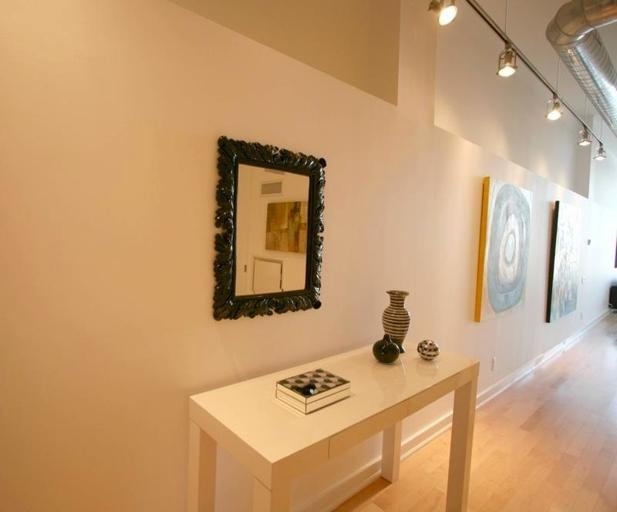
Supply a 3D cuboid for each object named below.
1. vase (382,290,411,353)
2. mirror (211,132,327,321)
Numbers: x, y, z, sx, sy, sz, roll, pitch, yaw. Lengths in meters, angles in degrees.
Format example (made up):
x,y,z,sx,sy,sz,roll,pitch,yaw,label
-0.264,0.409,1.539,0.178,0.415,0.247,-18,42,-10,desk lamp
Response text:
x,y,z,sx,sy,sz,roll,pitch,yaw,label
0.536,0.392,2.825,0.188,0.343,0.196,-1,-2,39,vase
-0.229,-0.164,2.451,0.872,1.174,0.077,-3,7,-45,mirror
